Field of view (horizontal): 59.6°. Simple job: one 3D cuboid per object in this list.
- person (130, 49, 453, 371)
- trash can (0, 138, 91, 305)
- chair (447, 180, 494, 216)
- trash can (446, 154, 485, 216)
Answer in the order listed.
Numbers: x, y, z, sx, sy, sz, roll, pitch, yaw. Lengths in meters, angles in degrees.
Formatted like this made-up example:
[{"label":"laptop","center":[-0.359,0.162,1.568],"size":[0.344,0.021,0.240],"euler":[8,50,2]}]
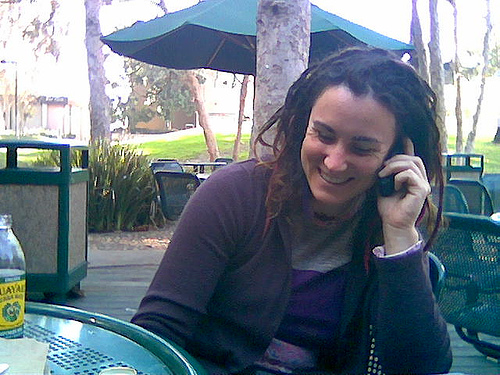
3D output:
[{"label":"person","center":[0.196,0.089,1.389],"size":[1.035,1.042,0.363],"euler":[1,3,-16]},{"label":"trash can","center":[-1.640,0.260,3.477],"size":[0.584,1.312,0.576],"euler":[1,2,-9]},{"label":"chair","center":[2.105,0.105,4.178],"size":[0.164,0.297,0.301],"euler":[-5,7,-30]},{"label":"trash can","center":[2.646,0.040,5.342],"size":[0.458,0.865,0.440],"euler":[-2,-1,22]}]
